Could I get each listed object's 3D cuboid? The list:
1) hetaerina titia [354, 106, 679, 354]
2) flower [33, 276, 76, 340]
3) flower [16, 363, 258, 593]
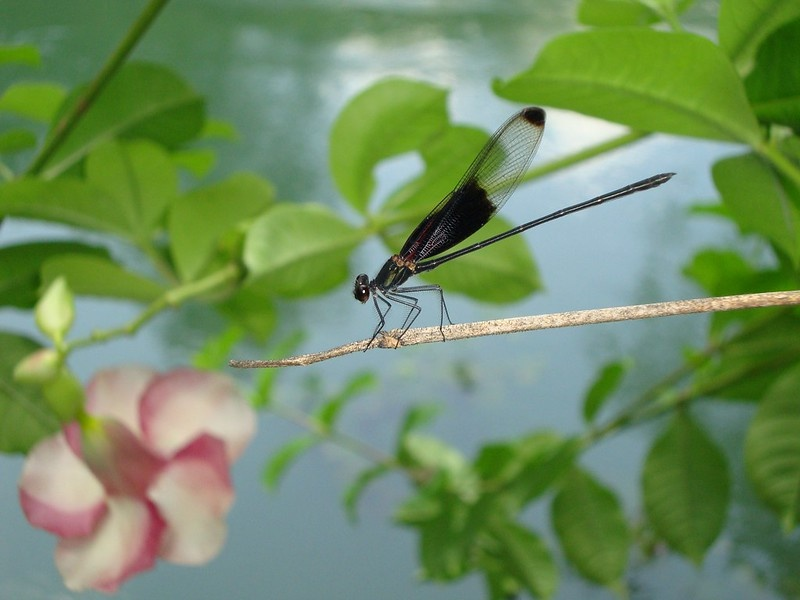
[{"bbox_3d":[0.090,-0.091,0.846,0.235,0.222,0.129,-7,58,-8],"label":"hetaerina titia"},{"bbox_3d":[-0.289,0.013,0.775,0.032,0.059,0.007,-10,40,-25],"label":"flower"},{"bbox_3d":[-0.221,0.153,0.789,0.195,0.170,0.098,1,33,-10],"label":"flower"}]
